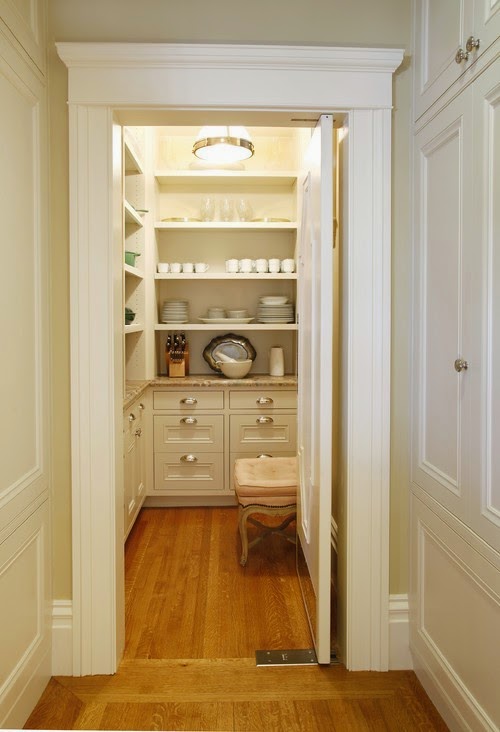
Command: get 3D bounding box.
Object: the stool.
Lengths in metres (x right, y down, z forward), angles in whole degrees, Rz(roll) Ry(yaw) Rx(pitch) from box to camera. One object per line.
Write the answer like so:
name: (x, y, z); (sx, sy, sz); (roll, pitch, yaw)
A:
stool: (0.065, 0.638, 2.809); (0.364, 0.318, 0.599); (1, 2, -3)

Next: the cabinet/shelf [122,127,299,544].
cabinet/shelf: (-0.198, -0.385, 3.629); (1.181, 2.585, 1.203); (-1, 3, -13)

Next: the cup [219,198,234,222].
cup: (-0.160, -1.047, 3.819); (0.083, 0.174, 0.181); (0, 4, 1)

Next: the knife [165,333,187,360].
knife: (-0.509, -0.126, 3.886); (0.189, 0.280, 0.030); (0, -38, -4)

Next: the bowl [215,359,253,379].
bowl: (-0.107, 0.028, 3.793); (0.238, 0.123, 0.233); (0, 4, 0)

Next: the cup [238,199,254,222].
cup: (-0.036, -1.041, 3.823); (0.095, 0.147, 0.148); (0, 4, -3)
